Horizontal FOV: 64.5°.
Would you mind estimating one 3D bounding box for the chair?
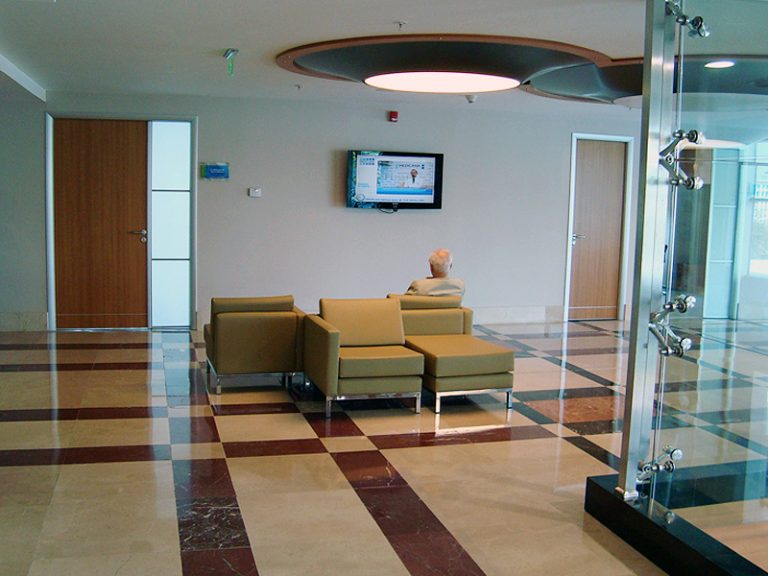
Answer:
[{"bbox_3d":[-0.252,0.583,5.685,2.688,0.967,1.200,0,10,-7],"label":"chair"}]
